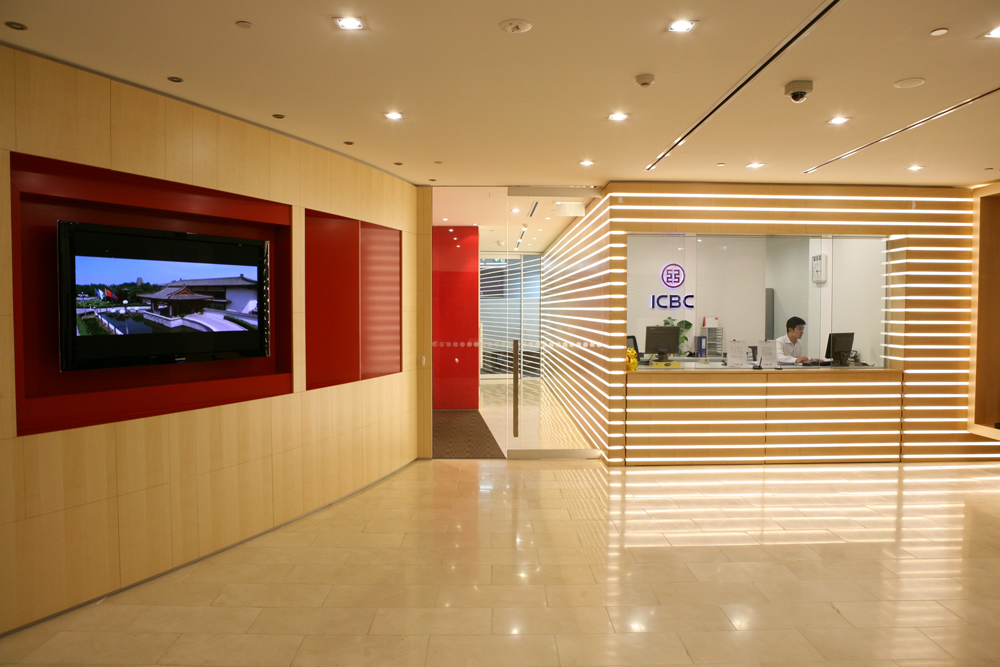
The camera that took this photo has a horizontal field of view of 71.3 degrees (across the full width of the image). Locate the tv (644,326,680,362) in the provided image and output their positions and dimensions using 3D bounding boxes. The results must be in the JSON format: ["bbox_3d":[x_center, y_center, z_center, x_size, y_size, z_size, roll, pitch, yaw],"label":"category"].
[{"bbox_3d":[2.298,0.137,9.983,0.576,0.494,0.195,0,-1,3],"label":"tv"}]

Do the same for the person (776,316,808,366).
[{"bbox_3d":[4.453,0.106,10.806,0.652,0.709,0.501,-1,8,-27],"label":"person"}]

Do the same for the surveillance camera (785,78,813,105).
[{"bbox_3d":[2.739,-2.229,6.433,0.179,0.162,0.167,0,1,0],"label":"surveillance camera"}]

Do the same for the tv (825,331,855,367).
[{"bbox_3d":[4.902,0.245,10.115,0.509,0.550,0.298,1,4,8],"label":"tv"}]
